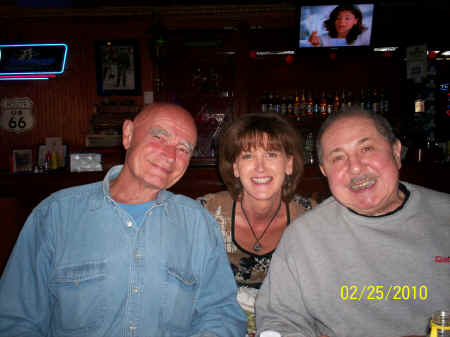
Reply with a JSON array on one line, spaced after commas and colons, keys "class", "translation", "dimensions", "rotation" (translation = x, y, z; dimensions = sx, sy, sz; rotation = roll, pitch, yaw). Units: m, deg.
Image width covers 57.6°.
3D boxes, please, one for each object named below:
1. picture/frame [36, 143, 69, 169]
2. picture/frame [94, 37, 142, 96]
[{"class": "picture/frame", "translation": [-2.934, -0.203, 6.876], "dimensions": [0.557, 0.492, 0.052], "rotation": [1, -6, -1]}, {"class": "picture/frame", "translation": [-2.000, -1.874, 7.635], "dimensions": [0.819, 0.984, 0.161], "rotation": [0, 0, 6]}]
